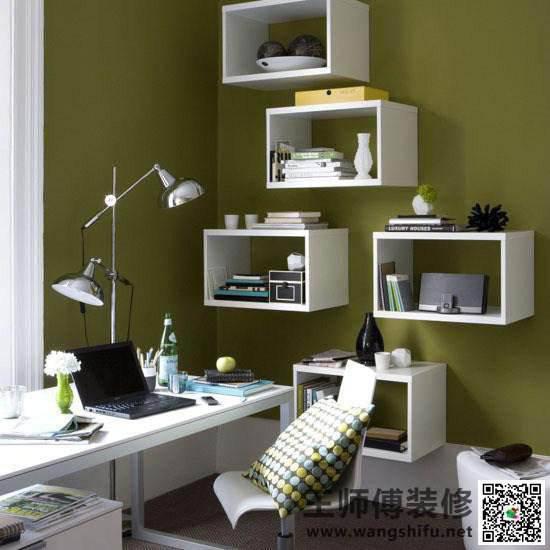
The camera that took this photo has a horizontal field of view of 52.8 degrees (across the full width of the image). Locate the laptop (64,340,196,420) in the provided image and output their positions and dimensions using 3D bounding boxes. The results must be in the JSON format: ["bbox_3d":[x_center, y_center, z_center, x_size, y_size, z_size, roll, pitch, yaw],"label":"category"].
[{"bbox_3d":[-0.561,0.409,2.086,0.259,0.213,0.291,2,1,30],"label":"laptop"}]

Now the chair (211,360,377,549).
[{"bbox_3d":[0.022,0.626,2.255,0.603,1.137,0.510,4,-4,-14],"label":"chair"}]

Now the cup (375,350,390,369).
[{"bbox_3d":[0.528,0.422,2.714,0.056,0.072,0.081,-1,-4,1],"label":"cup"}]

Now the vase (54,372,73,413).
[{"bbox_3d":[-0.733,0.413,1.929,0.054,0.159,0.125,-2,6,-21],"label":"vase"}]

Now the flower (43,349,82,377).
[{"bbox_3d":[-0.734,0.295,1.907,0.099,0.098,0.115,7,6,0],"label":"flower"}]

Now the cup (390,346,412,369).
[{"bbox_3d":[0.631,0.416,2.784,0.076,0.077,0.098,1,0,14],"label":"cup"}]

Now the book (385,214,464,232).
[{"bbox_3d":[0.690,-0.239,2.603,0.343,0.076,0.102,1,6,20],"label":"book"}]

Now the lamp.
[{"bbox_3d":[-0.700,-0.071,2.529,0.595,0.892,0.895,-3,6,-24],"label":"lamp"}]

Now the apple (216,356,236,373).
[{"bbox_3d":[-0.215,0.390,2.445,0.099,0.100,0.110,1,-3,1],"label":"apple"}]

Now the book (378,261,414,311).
[{"bbox_3d":[0.609,0.030,2.812,0.159,0.340,0.294,-1,2,26],"label":"book"}]

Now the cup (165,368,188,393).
[{"bbox_3d":[-0.404,0.452,2.304,0.072,0.086,0.063,1,-4,-13],"label":"cup"}]
